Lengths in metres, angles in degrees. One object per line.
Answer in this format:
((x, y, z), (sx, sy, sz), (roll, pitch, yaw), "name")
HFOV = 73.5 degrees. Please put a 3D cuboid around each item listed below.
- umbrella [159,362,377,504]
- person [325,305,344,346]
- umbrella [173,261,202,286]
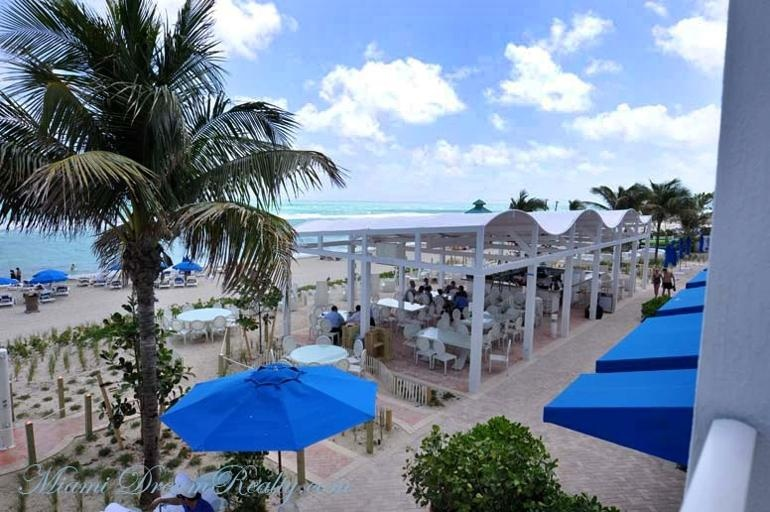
((-1.694, 2.312, 7.892), (2.976, 1.044, 1.582), (-1, 0, 2), "umbrella")
((-1.493, 2.144, 16.557), (0.578, 1.267, 0.690), (-2, 11, 17), "person")
((-11.013, 1.070, 28.893), (1.208, 1.024, 1.301), (4, 7, 15), "umbrella")
